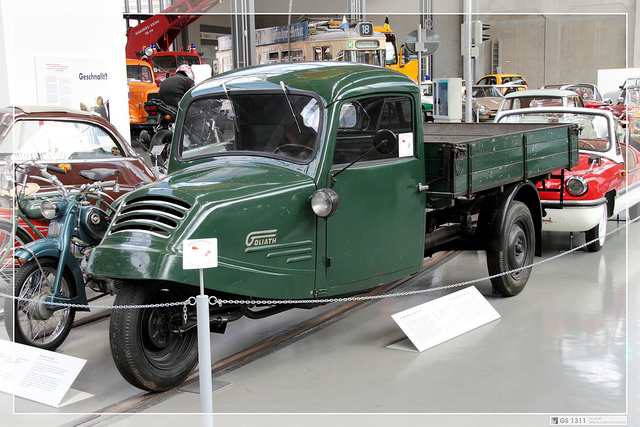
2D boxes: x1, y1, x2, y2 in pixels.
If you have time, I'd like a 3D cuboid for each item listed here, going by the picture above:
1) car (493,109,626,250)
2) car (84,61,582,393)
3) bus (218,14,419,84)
[{"bbox_3d":[5.050,-0.946,10.660,2.513,2.188,4.759,4,14,44],"label":"car"},{"bbox_3d":[0.538,-0.057,6.389,2.879,2.491,5.685,4,9,41],"label":"car"},{"bbox_3d":[-0.504,-6.687,23.466,3.911,4.253,10.357,-13,22,-23],"label":"bus"}]
